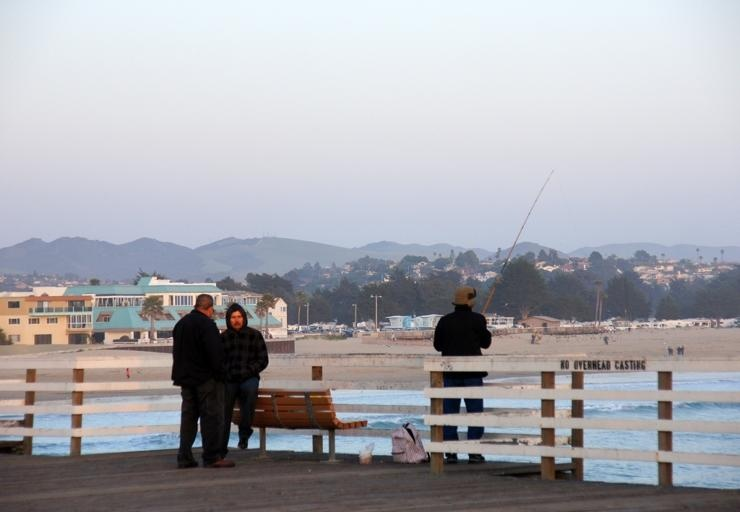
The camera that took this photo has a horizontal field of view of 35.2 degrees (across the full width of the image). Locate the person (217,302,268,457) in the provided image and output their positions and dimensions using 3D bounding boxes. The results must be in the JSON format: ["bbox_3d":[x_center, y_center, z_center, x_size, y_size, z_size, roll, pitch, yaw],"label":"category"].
[{"bbox_3d":[-2.051,2.004,19.231,0.798,2.090,1.011,0,-2,0],"label":"person"}]

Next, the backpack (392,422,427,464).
[{"bbox_3d":[0.585,3.043,19.037,0.485,0.570,0.695,1,-2,28],"label":"backpack"}]

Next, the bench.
[{"bbox_3d":[-1.153,2.744,19.054,1.908,1.166,1.010,-3,-5,20],"label":"bench"}]

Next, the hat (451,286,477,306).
[{"bbox_3d":[1.554,0.682,19.285,0.399,0.247,0.286,-8,10,-29],"label":"hat"}]
